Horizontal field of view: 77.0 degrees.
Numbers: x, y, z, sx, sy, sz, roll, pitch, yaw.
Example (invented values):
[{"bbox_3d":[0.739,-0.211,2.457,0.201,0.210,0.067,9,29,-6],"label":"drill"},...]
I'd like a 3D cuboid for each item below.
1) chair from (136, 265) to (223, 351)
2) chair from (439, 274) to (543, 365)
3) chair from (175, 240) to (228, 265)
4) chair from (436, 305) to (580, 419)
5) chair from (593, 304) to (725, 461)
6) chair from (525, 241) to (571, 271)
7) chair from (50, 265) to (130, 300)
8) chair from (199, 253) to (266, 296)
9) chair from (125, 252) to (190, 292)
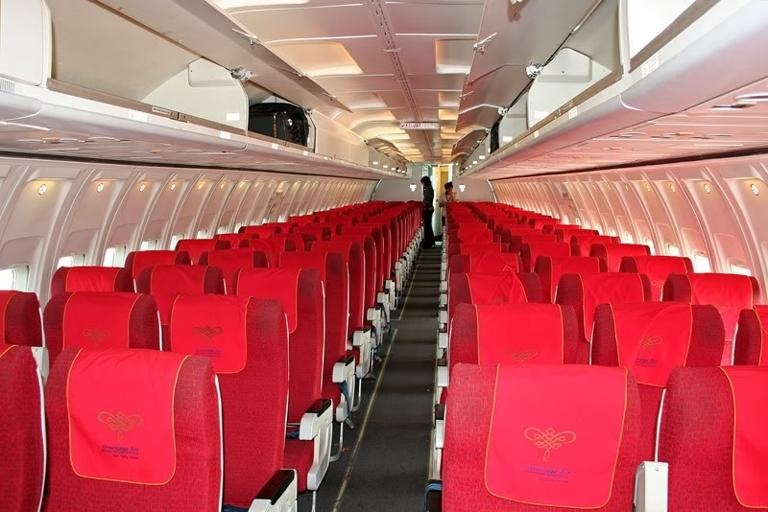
[{"bbox_3d":[-1.819,0.467,4.732,0.914,0.638,0.951,0,8,-4],"label":"chair"},{"bbox_3d":[1.016,0.479,4.570,0.752,0.688,0.673,1,-16,4],"label":"chair"},{"bbox_3d":[-2.340,-0.035,6.261,0.266,0.331,0.331,0,-20,-1],"label":"chair"},{"bbox_3d":[0.799,0.740,3.376,0.680,0.803,0.703,3,-21,4],"label":"chair"},{"bbox_3d":[1.657,0.838,3.595,1.000,1.241,1.077,-1,-6,10],"label":"chair"},{"bbox_3d":[2.313,-0.075,6.876,0.607,0.498,0.466,3,14,-1],"label":"chair"},{"bbox_3d":[-2.783,0.220,4.641,0.549,0.449,0.387,-1,-6,0],"label":"chair"},{"bbox_3d":[-1.739,0.293,5.382,0.696,0.577,0.522,3,10,9],"label":"chair"},{"bbox_3d":[-2.652,0.127,5.524,0.583,0.474,0.532,-1,-9,-6],"label":"chair"}]
